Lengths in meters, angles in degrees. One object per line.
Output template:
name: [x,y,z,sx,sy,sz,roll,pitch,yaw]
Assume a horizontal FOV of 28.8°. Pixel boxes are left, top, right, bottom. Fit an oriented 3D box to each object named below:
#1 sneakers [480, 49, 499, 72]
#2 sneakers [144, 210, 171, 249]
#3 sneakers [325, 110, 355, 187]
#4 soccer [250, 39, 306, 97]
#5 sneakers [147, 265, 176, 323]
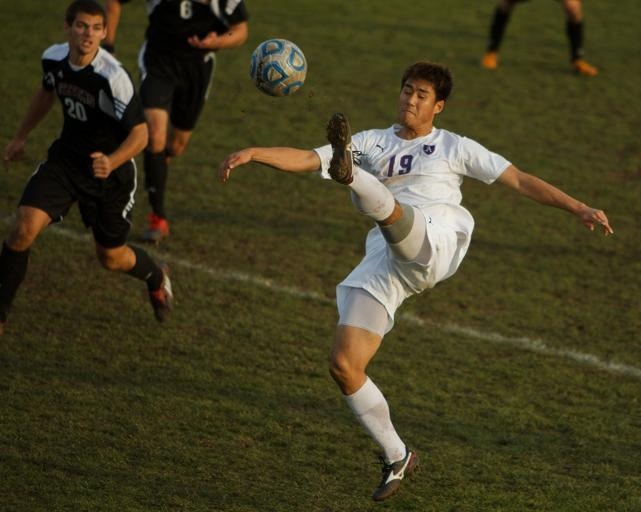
sneakers: [1.862,-2.174,13.887,0.182,0.192,0.111,12,1,4]
sneakers: [-1.453,-0.245,11.168,0.165,0.135,0.358,50,28,-26]
sneakers: [0.169,-0.793,9.089,0.195,0.494,0.270,-3,-7,36]
soccer: [-0.362,-1.551,9.848,0.477,0.415,0.434,13,34,7]
sneakers: [-1.285,0.305,10.245,0.182,0.460,0.209,2,25,15]
